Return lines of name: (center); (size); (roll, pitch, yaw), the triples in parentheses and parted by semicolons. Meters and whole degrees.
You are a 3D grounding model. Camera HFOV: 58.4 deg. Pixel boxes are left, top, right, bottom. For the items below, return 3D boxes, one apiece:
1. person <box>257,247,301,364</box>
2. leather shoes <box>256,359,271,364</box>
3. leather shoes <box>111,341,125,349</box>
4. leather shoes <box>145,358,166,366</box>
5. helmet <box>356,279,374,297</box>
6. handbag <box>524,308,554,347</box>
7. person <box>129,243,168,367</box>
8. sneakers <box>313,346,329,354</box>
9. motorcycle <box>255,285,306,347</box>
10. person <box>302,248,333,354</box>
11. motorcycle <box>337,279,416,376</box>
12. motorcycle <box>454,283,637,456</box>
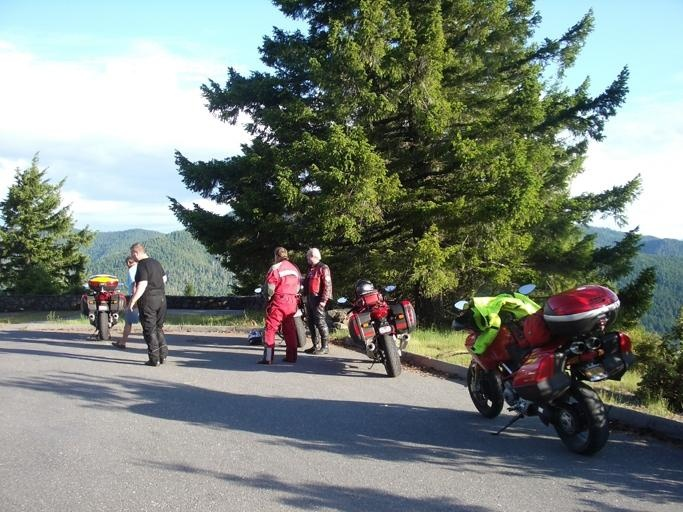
person: (-1.176, 1.108, 12.157); (0.852, 1.715, 0.378); (2, -1, -38)
leather shoes: (-1.505, 2.070, 11.998); (0.295, 0.108, 0.104); (2, 0, 23)
leather shoes: (-5.011, 2.040, 13.824); (0.364, 0.122, 0.142); (13, 14, 37)
leather shoes: (-3.502, 2.026, 11.589); (0.348, 0.135, 0.124); (8, 9, 7)
helmet: (0.444, 0.619, 11.236); (0.263, 0.308, 0.329); (14, 31, 37)
handbag: (2.233, 0.862, 7.124); (0.386, 0.359, 0.395); (0, -7, 6)
person: (-3.654, 1.047, 11.647); (0.688, 1.988, 0.449); (2, -1, -26)
sneakers: (-0.432, 2.085, 13.470); (0.328, 0.203, 0.128); (2, 12, 0)
motorcycle: (-1.205, 1.111, 12.620); (0.891, 1.544, 1.020); (-8, -10, -7)
person: (-0.504, 1.003, 13.502); (0.499, 1.735, 0.895); (2, -1, -4)
motorcycle: (0.718, 1.300, 10.948); (1.157, 1.193, 0.551); (1, -1, 2)
motorcycle: (2.361, 1.264, 7.328); (0.991, 1.863, 1.817); (2, -1, -24)
